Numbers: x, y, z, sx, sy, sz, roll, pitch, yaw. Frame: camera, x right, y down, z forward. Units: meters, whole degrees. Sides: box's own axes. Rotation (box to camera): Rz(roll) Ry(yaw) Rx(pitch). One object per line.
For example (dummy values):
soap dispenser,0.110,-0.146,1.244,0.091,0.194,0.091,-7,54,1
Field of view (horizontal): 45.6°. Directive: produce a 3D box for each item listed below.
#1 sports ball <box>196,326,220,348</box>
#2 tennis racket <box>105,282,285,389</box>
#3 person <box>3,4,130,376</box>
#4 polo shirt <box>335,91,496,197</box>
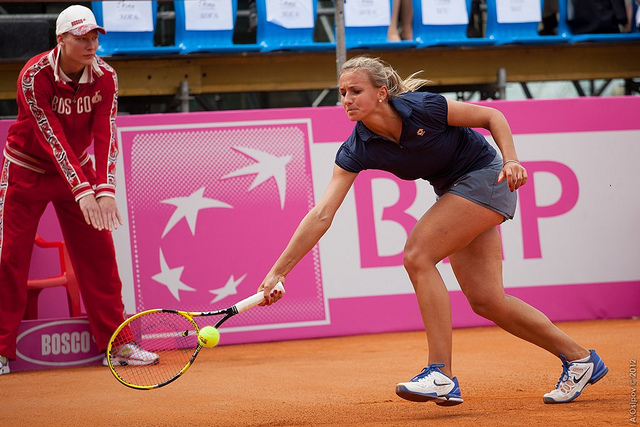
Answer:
sports ball,-0.831,0.937,5.749,0.147,0.146,0.144,-42,12,11
tennis racket,-1.054,1.034,6.890,1.799,0.681,0.121,-16,-16,-39
person,-2.272,-0.180,6.686,1.145,3.179,0.879,-2,13,-4
polo shirt,0.791,-0.617,6.010,0.878,0.502,1.343,-33,-16,38
